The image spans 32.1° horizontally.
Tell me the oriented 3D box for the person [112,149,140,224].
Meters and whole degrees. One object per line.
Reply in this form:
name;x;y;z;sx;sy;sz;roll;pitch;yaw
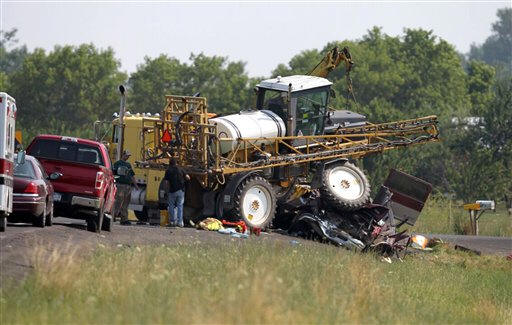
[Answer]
person;-6.077;1.112;40.773;1.047;3.281;1.237;0;-3;33

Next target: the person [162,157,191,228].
person;-3.646;1.339;40.251;1.366;3.029;0.938;1;3;2

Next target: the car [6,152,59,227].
car;-9.987;1.192;37.740;2.522;2.867;6.262;-1;-1;-7
